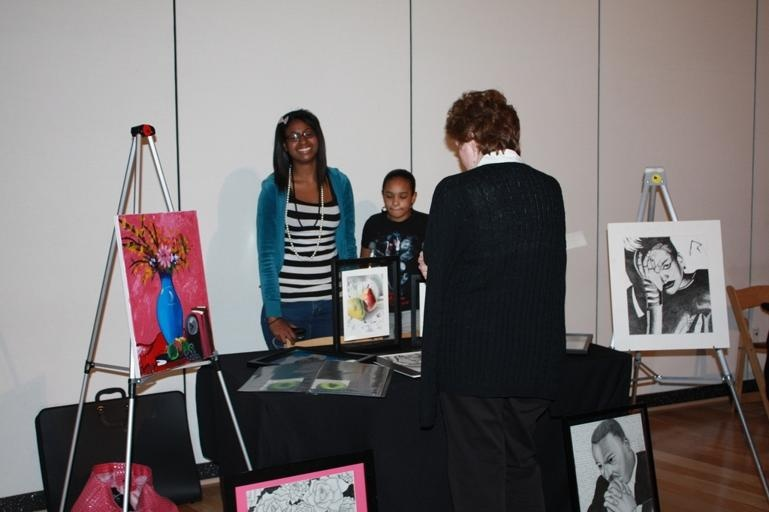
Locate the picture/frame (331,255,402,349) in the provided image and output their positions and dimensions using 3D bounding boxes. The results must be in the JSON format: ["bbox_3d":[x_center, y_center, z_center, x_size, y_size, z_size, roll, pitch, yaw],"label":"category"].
[{"bbox_3d":[-0.108,0.280,3.572,0.485,0.641,0.062,-2,2,-17],"label":"picture/frame"}]

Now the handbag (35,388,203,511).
[{"bbox_3d":[-1.704,1.237,3.796,0.781,0.752,0.265,-7,-10,-24],"label":"handbag"}]

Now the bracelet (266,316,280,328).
[{"bbox_3d":[-0.770,0.454,4.165,0.061,0.052,0.062,-23,-12,37],"label":"bracelet"}]
